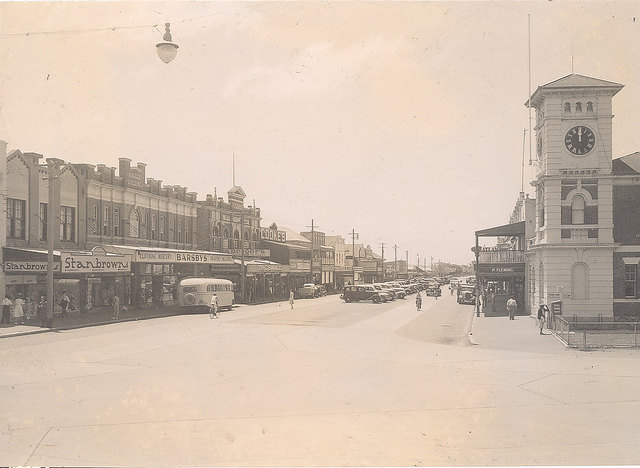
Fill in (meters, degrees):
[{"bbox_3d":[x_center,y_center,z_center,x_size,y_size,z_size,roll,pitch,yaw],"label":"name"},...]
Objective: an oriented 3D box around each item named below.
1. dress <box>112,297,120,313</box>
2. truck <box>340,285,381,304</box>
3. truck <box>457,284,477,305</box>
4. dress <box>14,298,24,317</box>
[{"bbox_3d":[-12.787,4.392,47.072,0.271,1.065,0.904,-3,8,-24],"label":"dress"},{"bbox_3d":[4.034,5.656,71.155,2.975,1.314,1.747,-2,-3,7],"label":"truck"},{"bbox_3d":[14.192,5.606,72.284,1.975,1.789,3.881,-1,-10,9],"label":"truck"},{"bbox_3d":[-17.480,4.232,43.444,0.459,1.060,0.629,-3,8,-20],"label":"dress"}]
